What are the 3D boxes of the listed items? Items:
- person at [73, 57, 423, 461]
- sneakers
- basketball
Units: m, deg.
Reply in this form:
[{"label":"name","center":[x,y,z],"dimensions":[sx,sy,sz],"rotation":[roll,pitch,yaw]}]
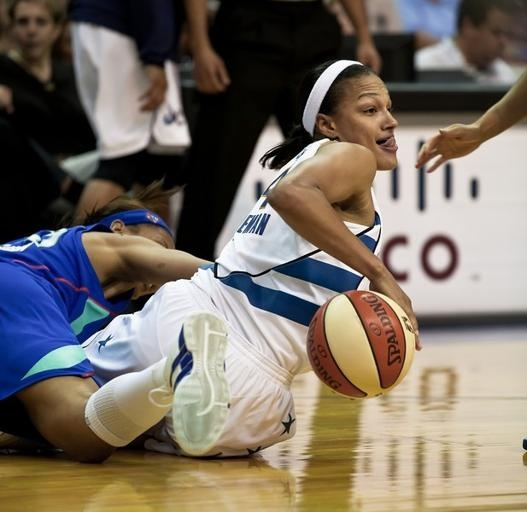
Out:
[{"label":"person","center":[0.110,0.038,2.128],"dimensions":[1.165,0.710,1.144],"rotation":[3,82,8]},{"label":"sneakers","center":[-0.125,0.259,1.444],"dimensions":[0.133,0.143,0.279],"rotation":[14,59,-24]},{"label":"basketball","center":[0.198,0.192,1.528],"dimensions":[0.230,0.226,0.213],"rotation":[4,80,-32]}]
